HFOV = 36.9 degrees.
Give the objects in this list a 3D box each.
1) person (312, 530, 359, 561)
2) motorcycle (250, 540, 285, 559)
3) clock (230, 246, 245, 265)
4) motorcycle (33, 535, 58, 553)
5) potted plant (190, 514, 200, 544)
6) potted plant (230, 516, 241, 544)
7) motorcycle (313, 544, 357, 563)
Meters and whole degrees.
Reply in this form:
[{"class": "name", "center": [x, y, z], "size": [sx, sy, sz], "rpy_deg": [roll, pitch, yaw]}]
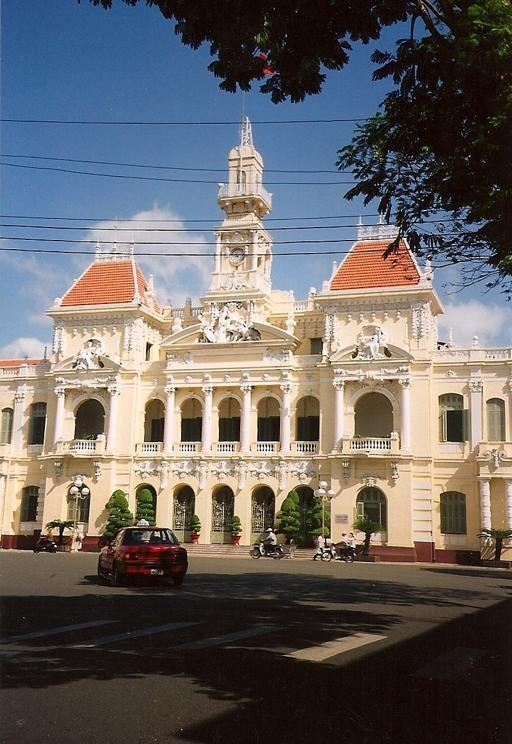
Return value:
[{"class": "person", "center": [3.388, 7.669, 33.415], "size": [1.723, 0.997, 1.049], "rpy_deg": [-1, -28, 4]}, {"class": "motorcycle", "center": [0.476, 7.918, 34.058], "size": [1.465, 0.900, 0.725], "rpy_deg": [-1, -36, 13]}, {"class": "clock", "center": [-1.042, -6.619, 43.496], "size": [1.128, 1.222, 0.179], "rpy_deg": [-1, 5, 27]}, {"class": "motorcycle", "center": [-10.600, 8.699, 38.857], "size": [1.457, 0.897, 0.867], "rpy_deg": [-4, -19, 42]}, {"class": "potted plant", "center": [-3.077, 7.987, 39.092], "size": [0.472, 1.422, 0.625], "rpy_deg": [2, -17, -3]}, {"class": "potted plant", "center": [-1.019, 7.898, 38.272], "size": [0.455, 1.397, 0.634], "rpy_deg": [-1, -17, 9]}, {"class": "motorcycle", "center": [3.422, 7.929, 33.108], "size": [1.525, 0.899, 0.878], "rpy_deg": [3, -53, 8]}]
